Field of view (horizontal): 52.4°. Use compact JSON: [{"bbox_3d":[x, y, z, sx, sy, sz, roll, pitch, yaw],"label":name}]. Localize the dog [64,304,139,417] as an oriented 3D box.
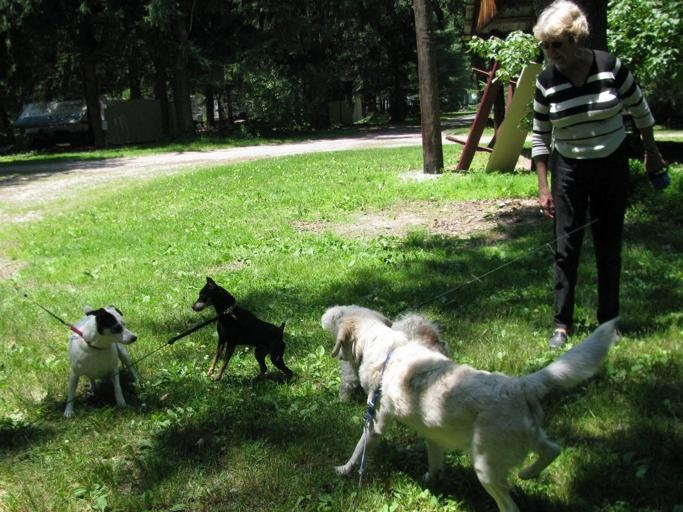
[{"bbox_3d":[-2.513,1.011,7.166,0.786,1.025,0.580,-8,14,-17],"label":"dog"}]
